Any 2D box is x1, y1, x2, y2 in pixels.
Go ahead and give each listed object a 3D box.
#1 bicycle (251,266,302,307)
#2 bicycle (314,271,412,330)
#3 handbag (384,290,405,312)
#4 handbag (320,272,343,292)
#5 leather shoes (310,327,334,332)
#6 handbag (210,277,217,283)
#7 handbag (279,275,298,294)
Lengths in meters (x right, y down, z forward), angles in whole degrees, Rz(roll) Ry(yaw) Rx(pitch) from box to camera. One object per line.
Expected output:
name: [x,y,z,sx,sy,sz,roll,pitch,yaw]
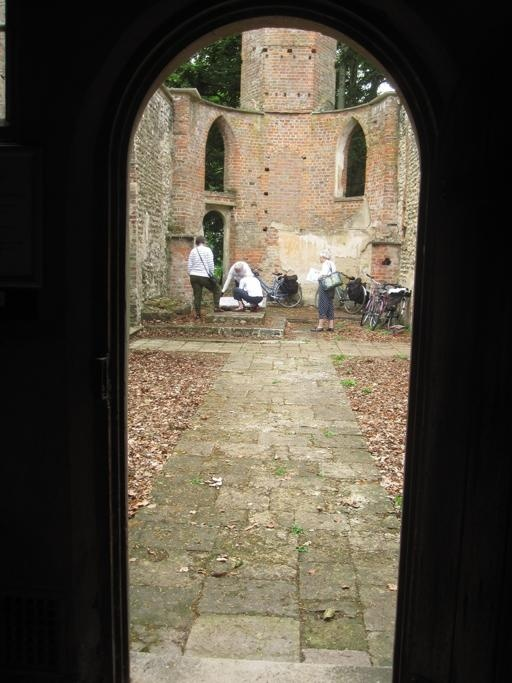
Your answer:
bicycle: [0.726,-1.524,18.333,1.702,0.980,0.824,2,16,4]
bicycle: [2.820,-0.987,14.688,1.117,1.436,2.606,2,10,-24]
handbag: [3.053,-0.892,13.288,0.400,0.394,0.447,2,-2,12]
handbag: [1.414,-1.177,11.418,0.469,0.335,0.274,-11,8,25]
leather shoes: [1.394,-0.232,12.772,0.457,0.121,0.150,3,2,-11]
handbag: [-0.852,-1.244,12.256,0.125,0.034,0.090,32,11,-31]
handbag: [0.972,-1.693,17.981,0.556,0.528,0.510,0,8,0]
